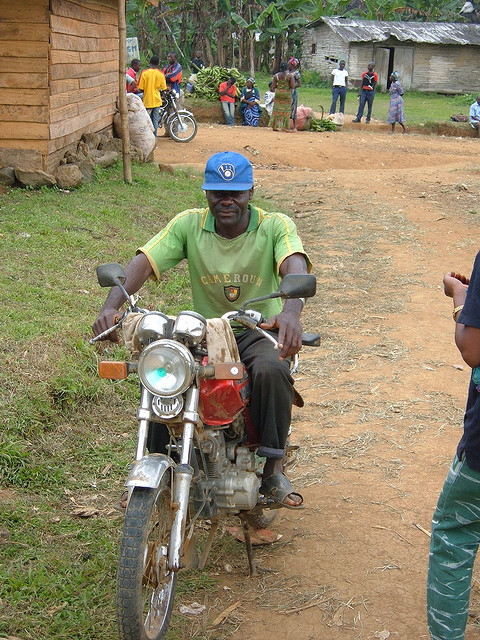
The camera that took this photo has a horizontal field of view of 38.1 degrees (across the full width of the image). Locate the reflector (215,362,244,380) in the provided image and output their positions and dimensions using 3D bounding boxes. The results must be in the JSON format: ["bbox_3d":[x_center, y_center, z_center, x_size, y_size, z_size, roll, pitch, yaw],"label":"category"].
[{"bbox_3d":[-0.038,0.179,2.431,0.103,0.068,0.077,0,14,-11],"label":"reflector"}]

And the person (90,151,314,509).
[{"bbox_3d":[-0.159,-0.016,3.199,1.047,1.420,0.946,3,7,8],"label":"person"}]

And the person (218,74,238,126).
[{"bbox_3d":[-0.338,-6.759,21.611,0.579,1.455,1.232,3,14,0],"label":"person"}]

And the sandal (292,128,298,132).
[{"bbox_3d":[1.723,-5.820,21.503,0.164,0.133,0.234,0,12,11],"label":"sandal"}]

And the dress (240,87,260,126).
[{"bbox_3d":[0.314,-6.631,21.921,0.605,1.102,0.637,3,15,2],"label":"dress"}]

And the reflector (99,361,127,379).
[{"bbox_3d":[-0.456,0.177,2.491,0.119,0.067,0.059,2,14,5],"label":"reflector"}]

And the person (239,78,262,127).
[{"bbox_3d":[0.360,-6.740,21.848,0.727,1.366,1.638,3,14,0],"label":"person"}]

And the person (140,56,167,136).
[{"bbox_3d":[-1.930,-5.010,15.491,0.537,1.670,1.098,2,15,-4],"label":"person"}]

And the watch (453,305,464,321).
[{"bbox_3d":[0.713,-0.019,2.282,0.050,0.049,0.023,12,4,4],"label":"watch"}]

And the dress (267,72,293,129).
[{"bbox_3d":[1.253,-6.325,20.453,0.619,1.414,1.370,4,14,2],"label":"dress"}]
